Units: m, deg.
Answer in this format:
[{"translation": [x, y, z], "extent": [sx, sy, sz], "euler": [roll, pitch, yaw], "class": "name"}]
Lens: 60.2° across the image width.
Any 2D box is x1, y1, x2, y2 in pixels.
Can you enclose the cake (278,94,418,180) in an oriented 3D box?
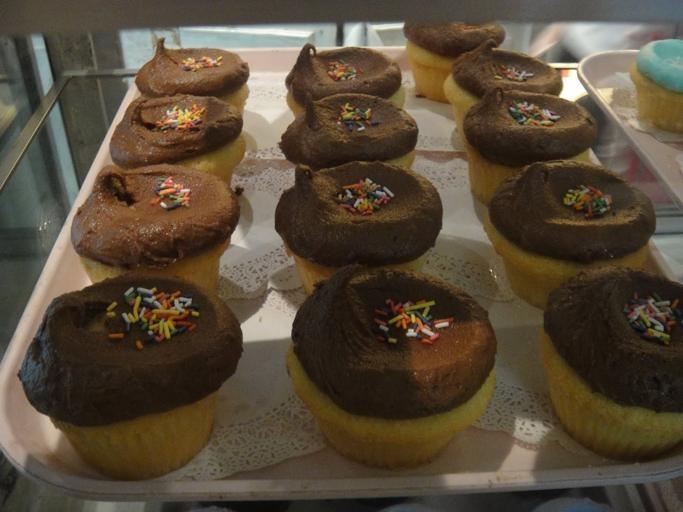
[{"translation": [0.060, -0.785, 3.767], "extent": [0.698, 0.275, 0.620], "euler": [4, 42, 6], "class": "cake"}]
